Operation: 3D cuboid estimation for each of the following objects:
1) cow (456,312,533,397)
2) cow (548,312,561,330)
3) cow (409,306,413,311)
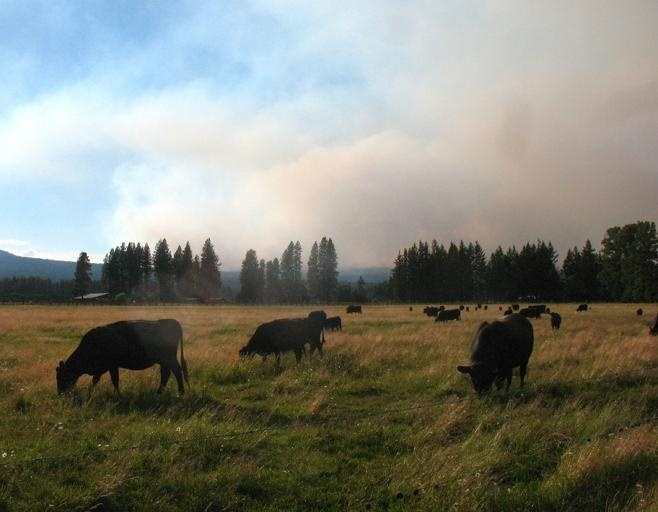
[{"bbox_3d":[6.067,3.361,24.857,1.511,2.645,3.940,-3,-6,37],"label":"cow"},{"bbox_3d":[13.595,3.904,42.103,0.605,0.971,1.678,-5,-21,26],"label":"cow"},{"bbox_3d":[8.689,5.626,74.711,0.469,0.618,0.593,2,0,8],"label":"cow"}]
